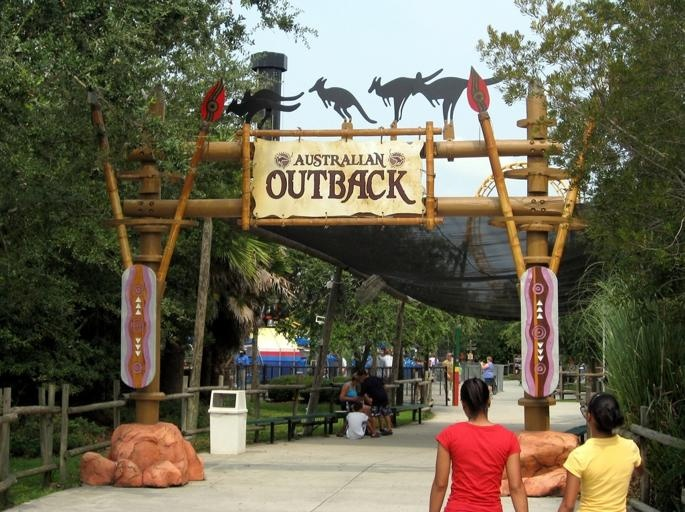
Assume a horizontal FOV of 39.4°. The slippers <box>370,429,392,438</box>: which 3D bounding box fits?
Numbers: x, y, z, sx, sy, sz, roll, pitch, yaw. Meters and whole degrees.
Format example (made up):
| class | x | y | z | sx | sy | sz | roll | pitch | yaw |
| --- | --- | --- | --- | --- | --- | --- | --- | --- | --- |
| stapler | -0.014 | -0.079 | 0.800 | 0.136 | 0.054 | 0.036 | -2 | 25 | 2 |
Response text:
| class | x | y | z | sx | sy | sz | roll | pitch | yaw |
| --- | --- | --- | --- | --- | --- | --- | --- | --- | --- |
| slippers | 0.756 | 3.754 | 20.224 | 0.458 | 0.200 | 0.161 | 5 | -10 | -20 |
